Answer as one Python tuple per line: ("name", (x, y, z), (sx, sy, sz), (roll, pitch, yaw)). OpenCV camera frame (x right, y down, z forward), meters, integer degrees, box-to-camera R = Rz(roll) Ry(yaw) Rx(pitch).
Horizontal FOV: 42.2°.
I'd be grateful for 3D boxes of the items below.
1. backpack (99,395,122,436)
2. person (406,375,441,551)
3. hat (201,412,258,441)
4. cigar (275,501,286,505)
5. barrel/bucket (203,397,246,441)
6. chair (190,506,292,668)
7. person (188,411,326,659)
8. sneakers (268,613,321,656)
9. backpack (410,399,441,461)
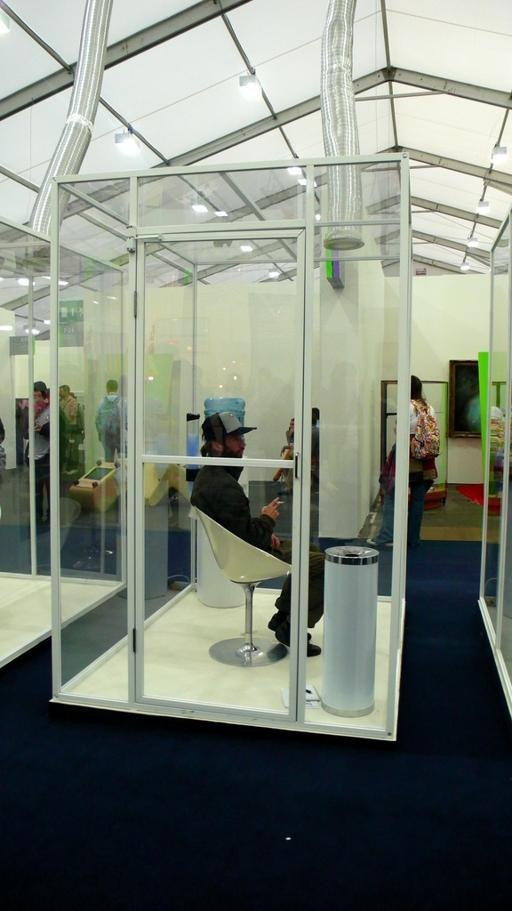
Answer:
("backpack", (-0.701, -0.192, 3.140), (0.199, 0.185, 0.068), (3, 3, 44))
("person", (1.542, 0.110, 6.123), (0.258, 1.587, 1.177), (1, 2, 14))
("hat", (-0.129, -0.115, 2.785), (0.173, 0.110, 0.116), (-12, 7, 8))
("cigar", (0.098, 0.193, 2.674), (0.045, 0.029, 0.009), (1, 2, 23))
("barrel/bucket", (-0.133, -0.160, 2.713), (0.117, 0.102, 0.127), (-1, 1, 0))
("chair", (-0.037, 0.613, 3.049), (0.370, 0.608, 0.394), (1, -2, -26))
("person", (0.036, 0.345, 2.845), (0.490, 1.074, 0.399), (-7, 8, 14))
("sneakers", (0.157, 0.735, 2.708), (0.084, 0.133, 0.283), (3, -5, -18))
("backpack", (1.571, -0.232, 6.259), (0.337, 0.549, 0.278), (-2, -2, -43))
